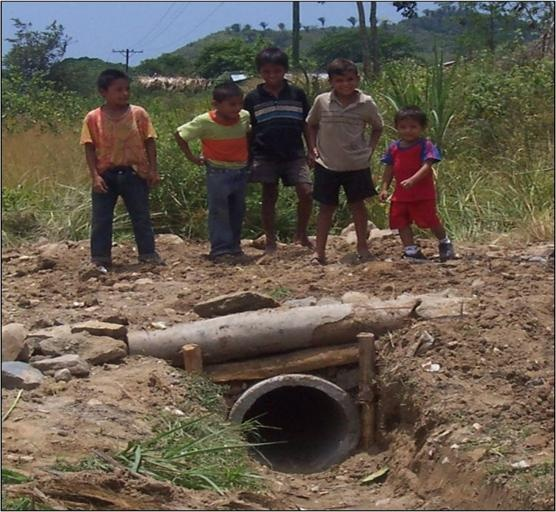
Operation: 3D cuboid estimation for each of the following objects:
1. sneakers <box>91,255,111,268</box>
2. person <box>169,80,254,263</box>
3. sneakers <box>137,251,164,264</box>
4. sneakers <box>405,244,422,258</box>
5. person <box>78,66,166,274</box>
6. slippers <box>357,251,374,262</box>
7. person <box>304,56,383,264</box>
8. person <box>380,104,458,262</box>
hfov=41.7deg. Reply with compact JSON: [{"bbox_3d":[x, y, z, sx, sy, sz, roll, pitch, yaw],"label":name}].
[{"bbox_3d":[-1.725,0.065,7.323,0.121,0.132,0.136,-14,-38,15],"label":"sneakers"},{"bbox_3d":[-0.569,-0.736,7.417,0.767,1.566,0.363,-6,10,-10],"label":"person"},{"bbox_3d":[-1.276,0.014,7.514,0.262,0.088,0.120,1,9,-8],"label":"sneakers"},{"bbox_3d":[1.249,-0.052,6.822,0.093,0.082,0.204,-3,9,-8],"label":"sneakers"},{"bbox_3d":[-1.527,-0.856,7.243,0.818,1.983,0.426,-10,11,-26],"label":"person"},{"bbox_3d":[0.836,0.007,6.937,0.069,0.073,0.183,-6,-2,-12],"label":"slippers"},{"bbox_3d":[0.646,-0.881,6.888,0.707,1.895,0.495,-3,10,7],"label":"person"},{"bbox_3d":[1.245,-0.659,6.730,0.646,1.425,0.517,0,11,23],"label":"person"}]
